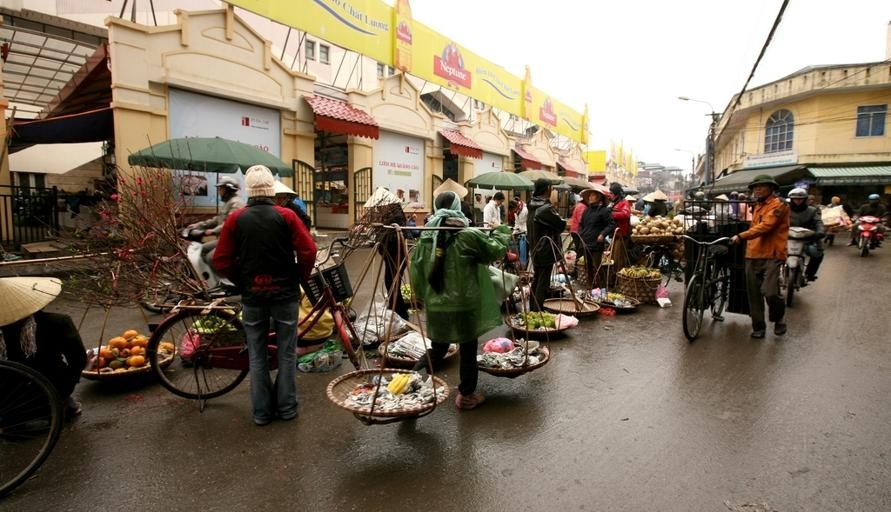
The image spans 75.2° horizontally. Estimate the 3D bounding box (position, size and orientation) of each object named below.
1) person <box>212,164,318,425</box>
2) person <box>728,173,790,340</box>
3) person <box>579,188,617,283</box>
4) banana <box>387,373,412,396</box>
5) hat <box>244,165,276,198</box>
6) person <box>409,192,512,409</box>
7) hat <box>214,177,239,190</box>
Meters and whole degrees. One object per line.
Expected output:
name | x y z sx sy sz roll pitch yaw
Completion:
person | -2.577 0.575 8.376 1.331 3.673 0.647 0 8 -10
person | 5.695 0.016 10.351 0.959 2.895 0.490 0 8 -8
person | 3.193 -0.353 12.368 0.583 2.091 0.736 0 8 -14
banana | -0.657 1.842 8.300 0.222 0.108 0.331 8 22 8
hat | -2.790 -1.110 8.581 0.537 0.466 0.738 -3 14 -20
person | 0.185 0.540 8.593 1.424 2.929 0.562 1 8 -4
hat | -3.884 -1.251 10.174 0.460 0.184 0.443 5 -6 -41
